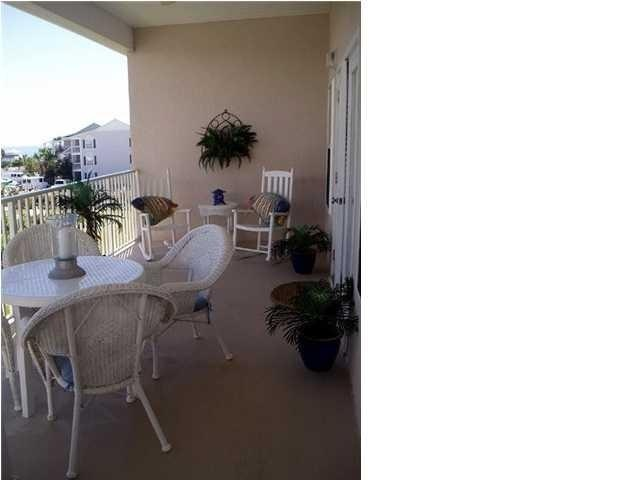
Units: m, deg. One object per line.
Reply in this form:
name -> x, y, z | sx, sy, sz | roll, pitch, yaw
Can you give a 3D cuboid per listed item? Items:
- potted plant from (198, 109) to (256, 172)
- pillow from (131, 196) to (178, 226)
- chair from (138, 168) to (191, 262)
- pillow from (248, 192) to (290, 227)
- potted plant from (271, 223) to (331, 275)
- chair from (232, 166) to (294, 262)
potted plant -> -1.202, -1.326, 6.419 | 0.724, 0.665, 0.731 | 2, 19, 4
pillow -> -2.001, -0.366, 5.776 | 0.111, 0.383, 0.409 | -19, -17, 33
chair -> -1.964, -0.322, 5.952 | 0.486, 0.910, 0.591 | -7, -6, -14
pillow -> -0.550, -0.402, 5.720 | 0.342, 0.474, 0.178 | 2, 10, 20
potted plant -> -0.207, 0.046, 5.158 | 0.534, 0.493, 0.549 | 2, 15, 9
chair -> -0.698, -0.356, 5.915 | 0.728, 1.331, 0.735 | 16, 22, 28
